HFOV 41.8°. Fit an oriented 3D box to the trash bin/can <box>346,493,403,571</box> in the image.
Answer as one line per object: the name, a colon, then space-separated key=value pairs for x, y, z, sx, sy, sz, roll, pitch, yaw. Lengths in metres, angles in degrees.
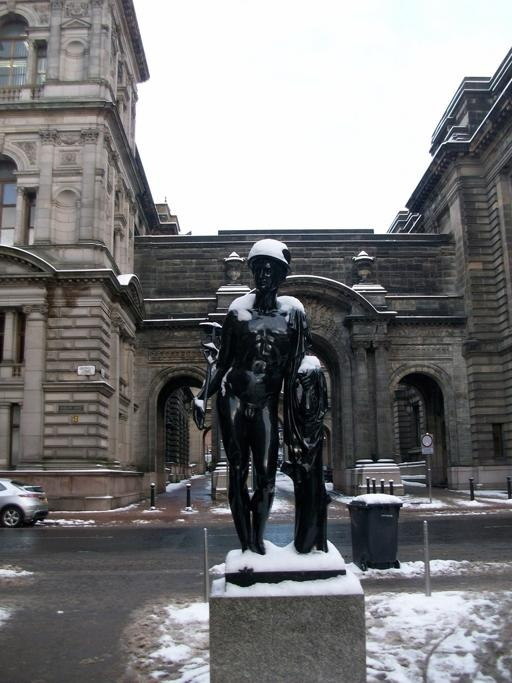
trash bin/can: x=1.950 y=3.115 z=10.950 sx=0.758 sy=1.200 sz=1.012 roll=-2 pitch=-12 yaw=4

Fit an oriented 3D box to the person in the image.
person: x=-0.017 y=0.311 z=5.147 sx=0.852 sy=2.485 sz=0.569 roll=0 pitch=-13 yaw=-2
